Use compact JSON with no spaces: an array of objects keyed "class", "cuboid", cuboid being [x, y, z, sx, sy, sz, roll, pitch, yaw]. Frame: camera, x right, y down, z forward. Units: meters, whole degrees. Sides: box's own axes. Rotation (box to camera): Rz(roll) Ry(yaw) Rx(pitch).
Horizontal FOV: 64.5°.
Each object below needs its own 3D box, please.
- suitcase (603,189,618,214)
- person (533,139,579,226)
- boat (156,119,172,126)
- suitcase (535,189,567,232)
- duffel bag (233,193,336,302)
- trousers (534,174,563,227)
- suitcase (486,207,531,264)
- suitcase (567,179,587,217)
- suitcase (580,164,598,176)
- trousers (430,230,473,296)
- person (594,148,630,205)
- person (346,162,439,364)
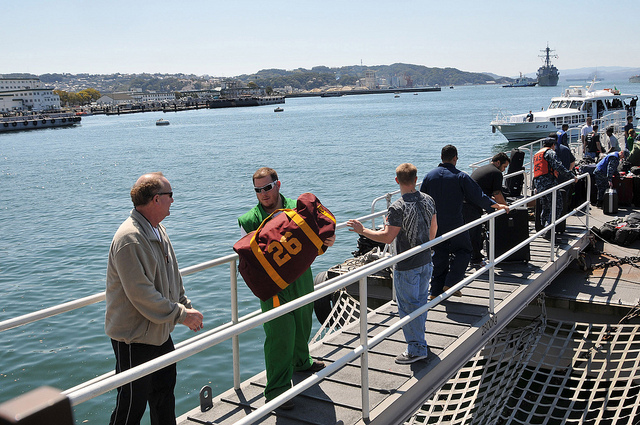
[{"class":"suitcase","cuboid":[7.246,-0.262,12.643,0.212,0.364,0.605,0,8,24]},{"class":"person","cuboid":[4.697,-0.631,10.160,0.730,1.649,1.008,-1,18,22]},{"class":"boat","cuboid":[-30.733,-17.426,98.934,2.137,0.844,2.984,-14,18,-20]},{"class":"suitcase","cuboid":[4.837,0.032,10.637,0.776,0.981,0.705,-1,-1,-43]},{"class":"duffel bag","cuboid":[-0.349,0.394,5.305,1.067,0.987,0.366,-13,17,-16]},{"class":"trousers","cuboid":[4.578,-0.183,10.014,0.534,1.008,1.286,-2,18,19]},{"class":"suitcase","cuboid":[3.690,0.476,9.296,0.765,1.180,0.770,-2,-2,39]},{"class":"suitcase","cuboid":[5.881,-0.318,11.630,0.258,0.890,0.583,7,-4,-16]},{"class":"suitcase","cuboid":[6.991,-1.094,13.182,0.642,0.432,0.148,-5,12,-38]},{"class":"trousers","cuboid":[1.977,0.779,7.714,0.657,0.986,0.423,-4,17,13]},{"class":"person","cuboid":[7.582,-0.962,13.242,0.736,1.460,1.858,3,19,31]},{"class":"person","cuboid":[1.028,0.623,6.233,0.765,2.368,1.182,0,19,25]}]
